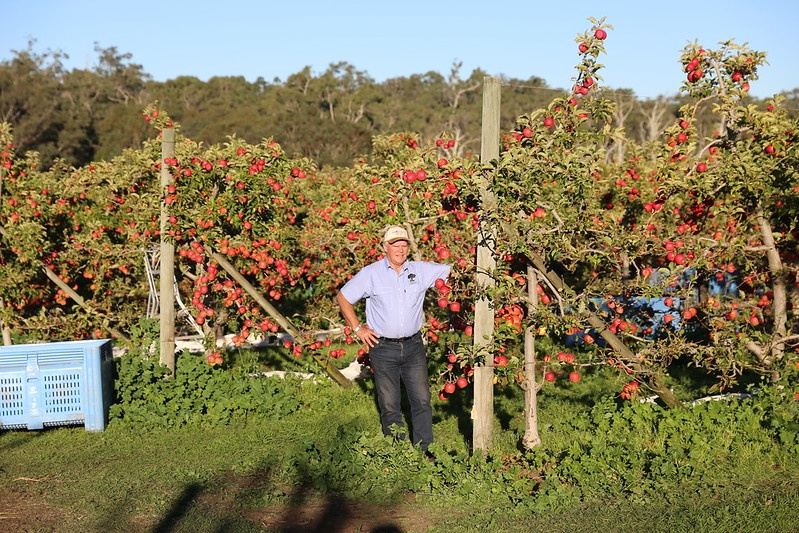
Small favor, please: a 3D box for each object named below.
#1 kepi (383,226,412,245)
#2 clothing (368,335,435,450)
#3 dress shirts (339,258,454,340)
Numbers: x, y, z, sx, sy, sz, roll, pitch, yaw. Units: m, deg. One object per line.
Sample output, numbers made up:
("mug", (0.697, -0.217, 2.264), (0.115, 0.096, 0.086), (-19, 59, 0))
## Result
("kepi", (-0.058, -0.449, 13.773), (0.325, 0.254, 0.241), (-1, -1, 10))
("clothing", (0.052, 1.767, 14.154), (0.762, 1.948, 0.601), (-1, 23, 3))
("dress shirts", (-0.016, 0.473, 13.919), (1.733, 1.075, 0.479), (-4, 6, -15))
